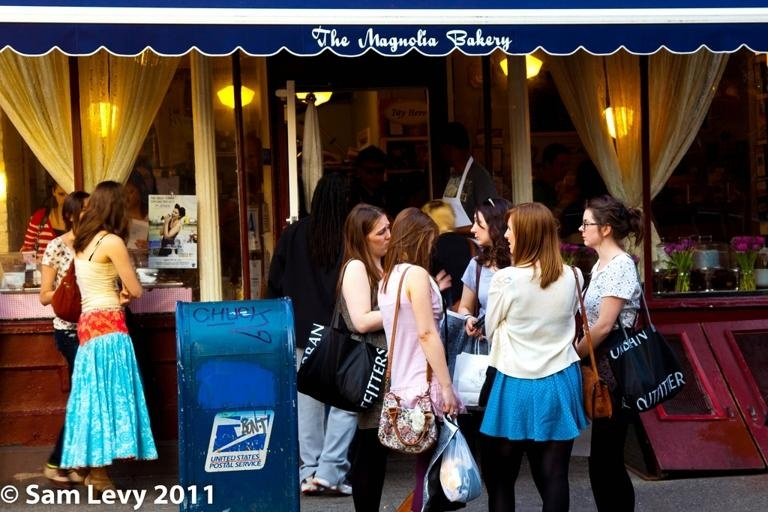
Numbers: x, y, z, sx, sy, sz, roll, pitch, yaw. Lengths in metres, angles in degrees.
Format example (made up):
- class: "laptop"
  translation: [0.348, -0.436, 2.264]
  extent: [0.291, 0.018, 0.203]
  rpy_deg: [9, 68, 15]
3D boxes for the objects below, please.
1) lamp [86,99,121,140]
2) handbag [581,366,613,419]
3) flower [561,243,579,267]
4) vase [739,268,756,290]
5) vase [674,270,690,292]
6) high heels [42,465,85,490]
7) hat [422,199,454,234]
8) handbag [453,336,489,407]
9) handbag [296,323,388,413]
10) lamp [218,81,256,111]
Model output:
- class: "lamp"
  translation: [-2.689, -1.303, 7.299]
  extent: [0.265, 0.331, 0.317]
  rpy_deg: [-1, -4, -10]
- class: "handbag"
  translation: [1.460, 0.948, 5.222]
  extent: [0.139, 0.362, 0.354]
  rpy_deg: [-10, 5, -6]
- class: "flower"
  translation: [1.807, 0.002, 7.373]
  extent: [0.180, 0.293, 0.187]
  rpy_deg: [-1, -5, 4]
- class: "vase"
  translation: [3.648, 0.246, 7.623]
  extent: [0.167, 0.296, 0.193]
  rpy_deg: [-4, -8, 24]
- class: "vase"
  translation: [2.968, 0.249, 7.543]
  extent: [0.176, 0.191, 0.111]
  rpy_deg: [-2, 4, 1]
- class: "high heels"
  translation: [-2.658, 1.844, 6.350]
  extent: [0.325, 0.155, 0.149]
  rpy_deg: [4, -4, -8]
- class: "hat"
  translation: [0.472, -0.342, 6.608]
  extent: [0.242, 0.308, 0.290]
  rpy_deg: [0, 10, 1]
- class: "handbag"
  translation: [0.623, 0.878, 5.426]
  extent: [0.252, 0.436, 0.835]
  rpy_deg: [-2, 4, 7]
- class: "handbag"
  translation: [-0.262, 0.763, 5.241]
  extent: [0.588, 0.662, 0.249]
  rpy_deg: [14, -13, 8]
- class: "lamp"
  translation: [-1.459, -1.574, 7.589]
  extent: [0.145, 0.246, 0.424]
  rpy_deg: [1, 6, 43]
